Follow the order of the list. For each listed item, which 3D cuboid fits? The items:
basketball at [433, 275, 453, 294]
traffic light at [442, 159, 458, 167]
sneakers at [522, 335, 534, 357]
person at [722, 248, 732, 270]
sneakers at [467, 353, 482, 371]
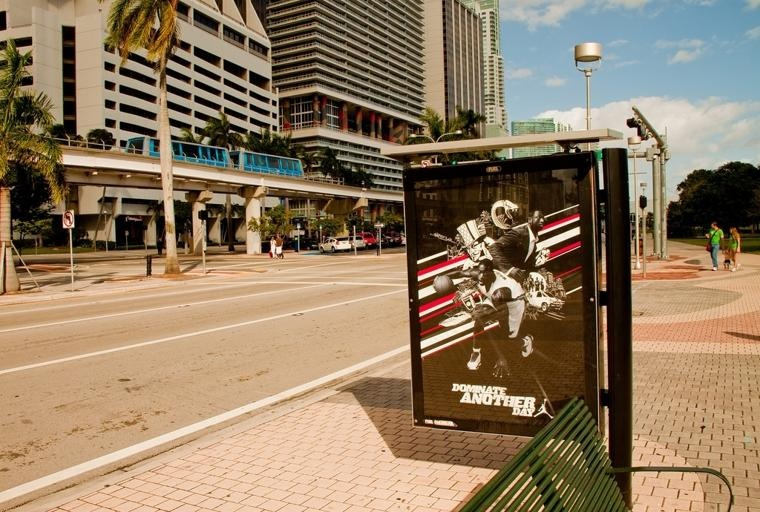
[{"bbox_3d":[0.711,0.299,6.626,0.196,0.182,0.195,-24,30,-35],"label":"basketball"},{"bbox_3d":[0.774,-1.022,6.485,0.174,0.071,0.331,-1,7,6],"label":"traffic light"},{"bbox_3d":[1.579,0.957,6.299,0.115,0.222,0.086,8,9,25],"label":"sneakers"},{"bbox_3d":[16.178,0.133,27.577,0.233,0.975,0.531,-14,13,22],"label":"person"},{"bbox_3d":[1.045,1.151,6.530,0.111,0.208,0.089,8,1,28],"label":"sneakers"}]
